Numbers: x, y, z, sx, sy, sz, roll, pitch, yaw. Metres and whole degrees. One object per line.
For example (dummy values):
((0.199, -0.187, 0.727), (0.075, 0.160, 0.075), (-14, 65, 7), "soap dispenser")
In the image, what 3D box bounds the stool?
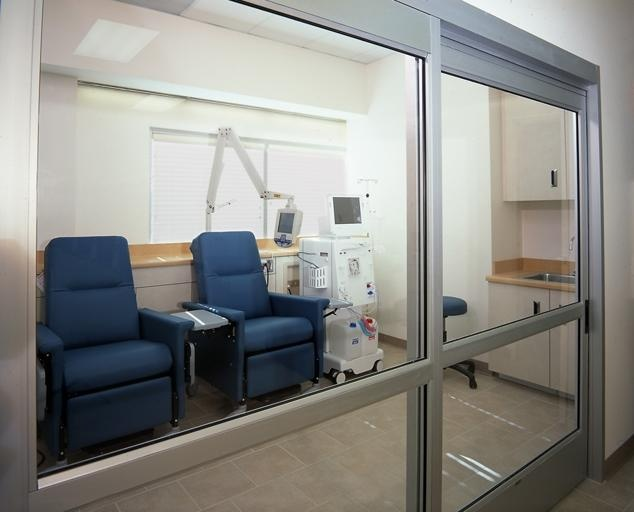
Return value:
((0.390, 0.258, 1.474), (0.174, 0.253, 0.162), (-6, 0, 16), "stool")

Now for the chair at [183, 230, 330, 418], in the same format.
((-0.252, 0.141, 1.263), (0.346, 0.457, 0.379), (-2, 2, -38), "chair")

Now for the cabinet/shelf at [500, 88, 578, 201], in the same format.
((0.871, -0.353, 1.797), (0.336, 0.308, 0.130), (0, 0, 8), "cabinet/shelf")

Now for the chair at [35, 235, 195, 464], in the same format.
((-0.438, 0.169, 0.978), (0.227, 0.387, 0.282), (8, 10, 41), "chair")

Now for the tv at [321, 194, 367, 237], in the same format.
((0.084, -0.135, 1.619), (0.161, 0.154, 0.087), (-3, -3, -28), "tv")
